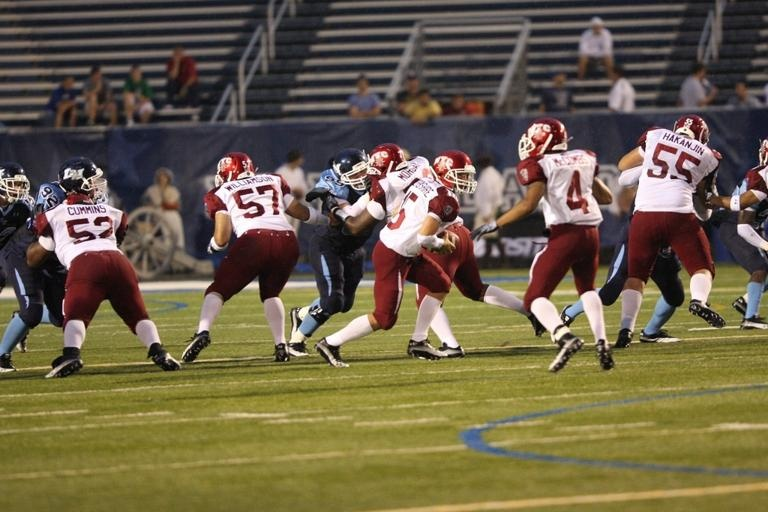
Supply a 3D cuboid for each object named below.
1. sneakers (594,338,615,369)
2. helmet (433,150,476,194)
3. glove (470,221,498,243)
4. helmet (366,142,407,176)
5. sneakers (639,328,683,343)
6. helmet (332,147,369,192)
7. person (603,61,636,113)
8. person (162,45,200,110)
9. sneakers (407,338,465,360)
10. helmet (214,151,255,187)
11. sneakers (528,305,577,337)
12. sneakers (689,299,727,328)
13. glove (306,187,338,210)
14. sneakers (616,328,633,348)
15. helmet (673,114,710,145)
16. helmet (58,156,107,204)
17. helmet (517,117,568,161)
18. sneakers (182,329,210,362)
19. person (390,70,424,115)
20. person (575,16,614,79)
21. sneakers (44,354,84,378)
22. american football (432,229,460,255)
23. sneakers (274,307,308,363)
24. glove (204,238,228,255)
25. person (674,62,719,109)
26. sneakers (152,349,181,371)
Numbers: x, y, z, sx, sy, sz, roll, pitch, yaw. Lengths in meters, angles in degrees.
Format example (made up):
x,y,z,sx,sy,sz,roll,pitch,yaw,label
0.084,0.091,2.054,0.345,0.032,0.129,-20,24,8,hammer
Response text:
x,y,z,sx,sy,sz,roll,pitch,yaw,label
1.865,0.771,10.319,0.110,0.144,0.311,-21,42,7,sneakers
0.639,-0.785,10.828,0.434,0.308,0.314,10,18,9,helmet
0.941,-0.237,10.885,0.316,0.101,0.112,-18,-43,43,glove
0.098,-0.866,11.119,0.381,0.315,0.281,9,11,33,helmet
2.679,0.738,11.639,0.412,0.147,0.137,-1,1,1,sneakers
-0.196,-0.769,10.987,0.312,0.296,0.372,-36,38,-27,helmet
3.654,-2.514,18.513,0.355,0.638,0.755,0,14,10,person
-3.130,-2.782,19.119,0.496,0.913,0.357,-5,14,-9,person
0.449,0.822,11.058,0.584,0.232,0.187,0,-7,-12,sneakers
-1.372,-0.789,11.298,0.364,0.337,0.302,8,7,24,helmet
1.424,0.520,10.408,0.444,0.151,0.191,49,17,27,sneakers
3.215,0.557,12.043,0.329,0.117,0.158,33,31,-2,sneakers
-0.523,-0.503,11.000,0.296,0.173,0.150,11,29,18,glove
2.233,0.723,11.261,0.155,0.227,0.199,0,14,10,sneakers
2.866,-1.143,11.268,0.262,0.255,0.482,4,14,22,helmet
-2.663,-0.656,10.870,0.389,0.434,0.483,-6,14,-14,helmet
1.458,-1.026,10.778,0.450,0.366,0.329,7,13,33,helmet
-1.647,0.731,10.736,0.104,0.303,0.134,-30,52,5,sneakers
0.448,-2.332,18.442,0.559,0.616,1.132,6,27,-2,person
3.542,-3.392,20.119,0.599,0.974,1.707,0,14,10,person
-2.745,0.942,10.591,0.288,0.095,0.125,-21,37,23,sneakers
0.553,-0.093,10.548,0.245,0.093,0.176,-1,44,42,american football
-0.852,0.756,11.212,0.191,0.574,0.273,-6,-4,-44,sneakers
-1.741,-0.113,12.906,0.197,0.111,0.252,11,4,-35,glove
4.864,-2.420,18.732,0.549,0.935,0.545,-1,13,-7,person
-1.858,0.897,10.532,0.317,0.116,0.146,28,16,38,sneakers
